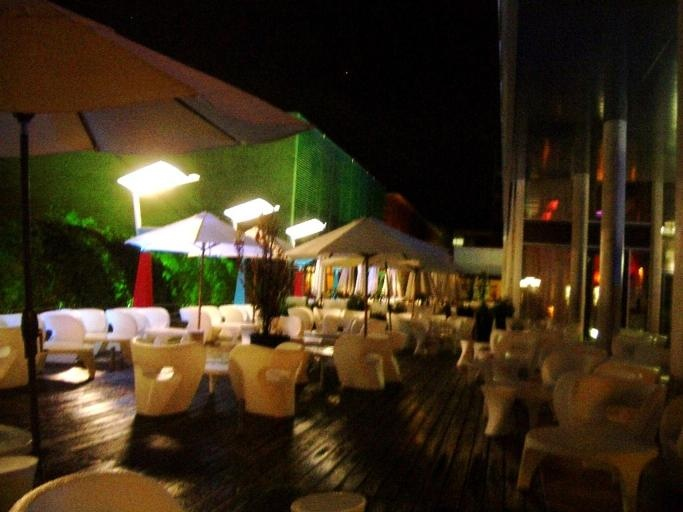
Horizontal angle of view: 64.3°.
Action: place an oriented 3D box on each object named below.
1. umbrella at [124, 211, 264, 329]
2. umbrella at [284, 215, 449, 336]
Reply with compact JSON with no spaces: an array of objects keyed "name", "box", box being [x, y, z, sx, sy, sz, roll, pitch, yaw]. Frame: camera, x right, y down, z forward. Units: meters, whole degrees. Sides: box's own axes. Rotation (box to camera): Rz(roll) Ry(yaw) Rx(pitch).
[{"name":"umbrella","box":[-2.324,0.209,9.028,2.230,1.867,2.213,2,-1,5]},{"name":"umbrella","box":[0.403,0.021,8.351,1.571,1.323,1.725,-1,21,-14]}]
